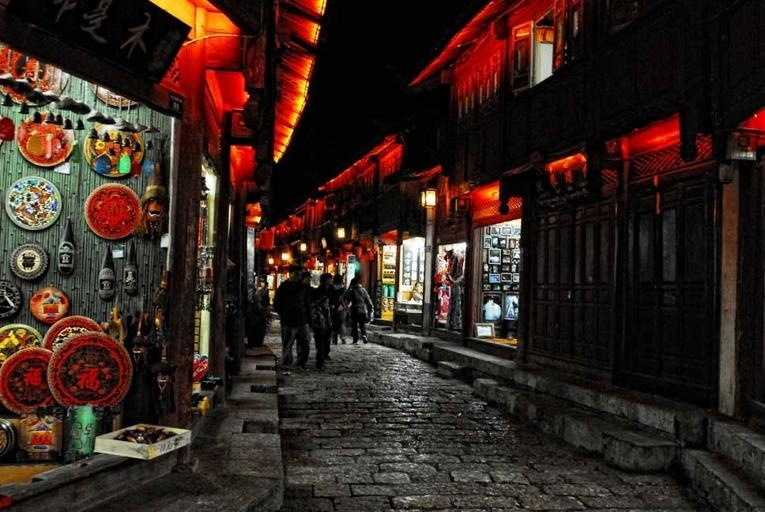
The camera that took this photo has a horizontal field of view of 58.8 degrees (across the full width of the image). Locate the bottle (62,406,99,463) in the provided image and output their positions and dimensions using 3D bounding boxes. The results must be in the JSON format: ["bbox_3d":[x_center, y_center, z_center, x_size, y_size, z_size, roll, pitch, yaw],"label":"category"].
[{"bbox_3d":[-3.635,2.143,8.144,0.410,0.657,0.103,1,2,3],"label":"bottle"}]

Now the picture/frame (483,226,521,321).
[{"bbox_3d":[3.582,0.488,20.476,1.404,3.053,0.420,0,2,-24],"label":"picture/frame"}]

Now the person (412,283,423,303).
[{"bbox_3d":[1.262,1.371,25.346,0.374,0.634,1.067,1,2,-1],"label":"person"}]

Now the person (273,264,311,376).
[{"bbox_3d":[-2.162,1.512,16.664,0.715,2.581,1.090,3,3,35],"label":"person"}]
